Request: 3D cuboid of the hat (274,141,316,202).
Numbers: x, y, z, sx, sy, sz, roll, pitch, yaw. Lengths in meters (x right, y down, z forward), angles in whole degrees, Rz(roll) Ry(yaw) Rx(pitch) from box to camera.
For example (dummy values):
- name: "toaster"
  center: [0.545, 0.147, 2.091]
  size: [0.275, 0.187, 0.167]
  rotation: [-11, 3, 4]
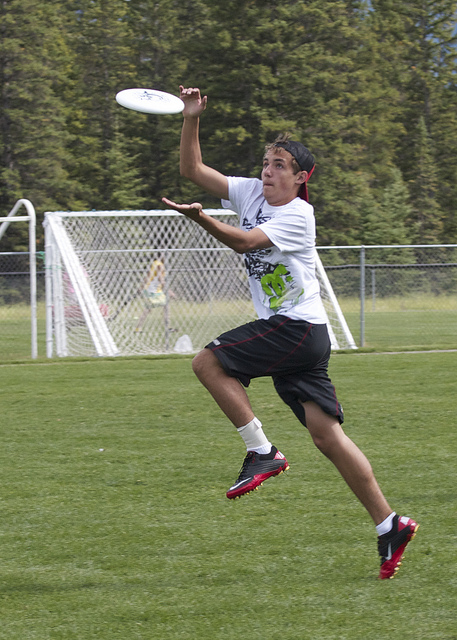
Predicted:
- name: "hat"
  center: [0.305, -0.633, 3.203]
  size: [0.118, 0.260, 0.259]
  rotation: [1, 8, 24]

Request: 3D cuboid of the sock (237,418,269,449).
- name: "sock"
  center: [0.103, 0.478, 3.120]
  size: [0.124, 0.138, 0.067]
  rotation: [-3, 8, -10]

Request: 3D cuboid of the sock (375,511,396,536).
- name: "sock"
  center: [0.597, 0.777, 2.833]
  size: [0.046, 0.091, 0.035]
  rotation: [35, -12, 2]

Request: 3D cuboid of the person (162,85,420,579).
- name: "person"
  center: [0.213, -0.027, 3.092]
  size: [0.825, 1.989, 1.084]
  rotation: [-5, 8, -20]
